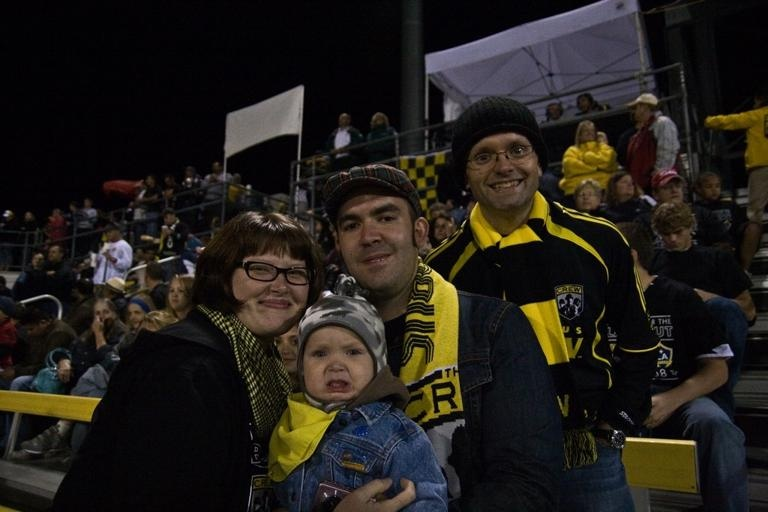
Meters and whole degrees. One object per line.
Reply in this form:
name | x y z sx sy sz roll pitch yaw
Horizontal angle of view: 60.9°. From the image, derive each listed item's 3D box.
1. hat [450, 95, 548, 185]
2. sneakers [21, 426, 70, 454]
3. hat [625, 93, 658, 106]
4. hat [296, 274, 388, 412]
hat | 0.840 -0.970 5.142 0.577 0.413 0.604 -3 -26 3
sneakers | -3.799 2.091 7.424 0.193 0.237 0.556 27 8 28
hat | 3.694 -2.231 9.468 0.464 0.184 0.304 2 6 33
hat | -0.200 0.539 4.919 0.573 0.818 0.811 -5 -13 5
